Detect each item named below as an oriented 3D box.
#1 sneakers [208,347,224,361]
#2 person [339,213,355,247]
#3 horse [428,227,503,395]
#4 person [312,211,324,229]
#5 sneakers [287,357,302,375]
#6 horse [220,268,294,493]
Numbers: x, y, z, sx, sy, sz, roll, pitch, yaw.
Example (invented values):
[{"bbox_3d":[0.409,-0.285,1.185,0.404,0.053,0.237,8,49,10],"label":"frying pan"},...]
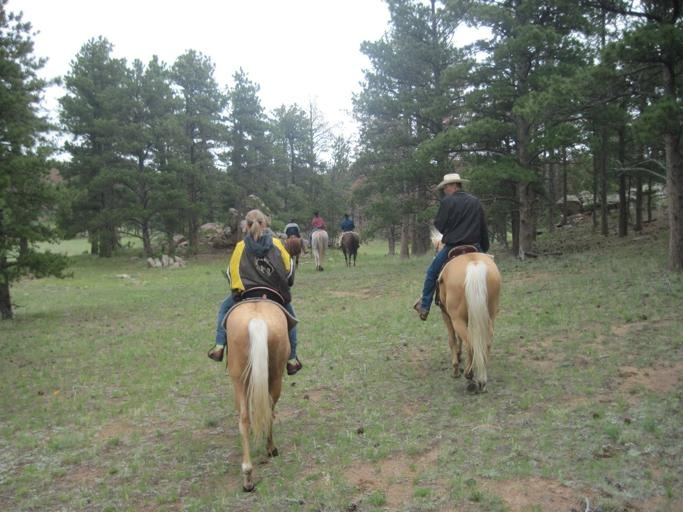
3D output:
[{"bbox_3d":[-2.338,1.814,11.042,0.179,0.219,0.458,3,4,-10],"label":"sneakers"},{"bbox_3d":[0.273,-1.411,30.307,0.630,1.498,2.156,-2,2,0],"label":"person"},{"bbox_3d":[2.640,1.243,12.363,1.080,2.842,1.480,-2,2,1],"label":"horse"},{"bbox_3d":[-1.192,-1.734,29.701,0.574,0.820,1.132,-3,2,-6],"label":"person"},{"bbox_3d":[-0.916,2.165,11.522,0.175,0.245,0.525,-1,2,5],"label":"sneakers"},{"bbox_3d":[-1.433,2.357,10.256,1.046,3.145,0.794,-3,3,-14],"label":"horse"}]
